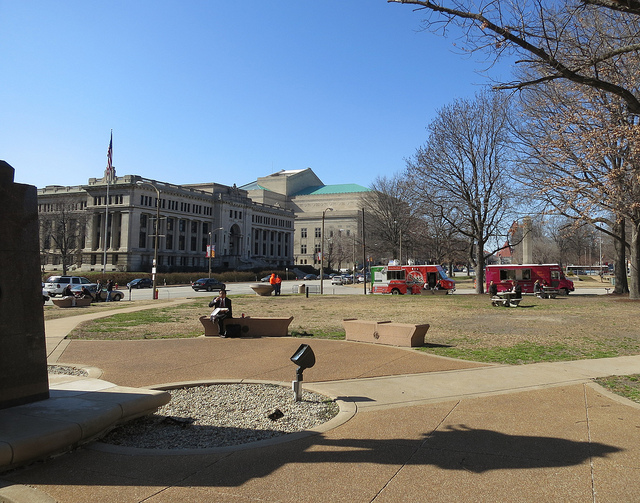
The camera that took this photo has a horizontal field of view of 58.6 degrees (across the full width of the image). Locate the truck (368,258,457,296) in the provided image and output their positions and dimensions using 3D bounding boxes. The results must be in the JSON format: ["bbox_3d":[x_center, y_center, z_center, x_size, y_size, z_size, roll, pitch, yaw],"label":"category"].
[{"bbox_3d":[7.968,2.251,48.777,6.753,3.084,2.826,-1,0,14],"label":"truck"}]

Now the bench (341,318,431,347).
[{"bbox_3d":[1.833,2.290,16.027,2.511,0.668,0.672,-5,-4,43],"label":"bench"}]

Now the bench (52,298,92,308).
[{"bbox_3d":[-13.963,2.900,32.157,0.666,0.465,2.866,-8,-8,31],"label":"bench"}]

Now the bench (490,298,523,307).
[{"bbox_3d":[10.045,2.687,30.383,1.688,0.459,1.559,-1,-3,-19],"label":"bench"}]

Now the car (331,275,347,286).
[{"bbox_3d":[2.883,4.272,83.591,2.132,1.032,2.479,-2,-3,-4],"label":"car"}]

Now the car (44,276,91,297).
[{"bbox_3d":[-19.143,2.600,43.844,1.602,1.252,3.380,0,3,42],"label":"car"}]

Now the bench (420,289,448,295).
[{"bbox_3d":[9.227,3.278,46.528,1.092,0.458,2.744,0,-3,-30],"label":"bench"}]

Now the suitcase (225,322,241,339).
[{"bbox_3d":[-2.628,2.433,17.559,0.648,0.613,0.347,2,2,2],"label":"suitcase"}]
